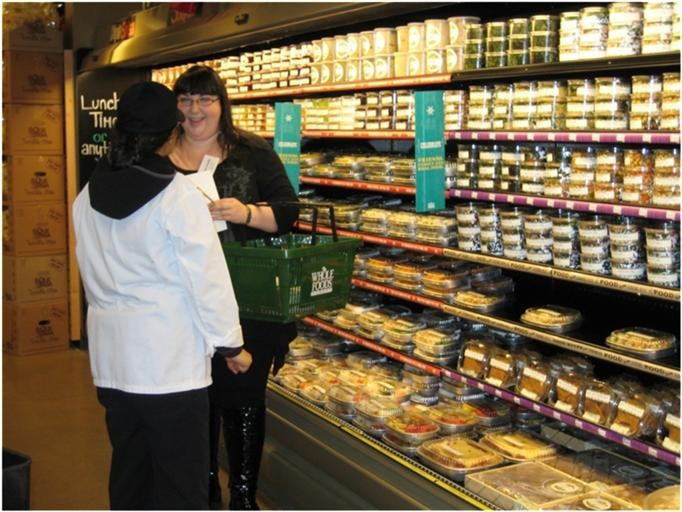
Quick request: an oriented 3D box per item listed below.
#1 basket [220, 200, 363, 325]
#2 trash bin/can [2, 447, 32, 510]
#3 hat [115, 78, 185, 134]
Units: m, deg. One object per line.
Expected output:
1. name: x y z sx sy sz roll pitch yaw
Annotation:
1. basket: -0.269 0.002 2.762 0.614 0.568 0.819 8 13 42
2. trash bin/can: -1.624 1.111 2.492 0.141 0.264 0.233 -11 14 -32
3. hat: -0.729 -0.576 1.935 0.205 0.120 0.227 4 38 3
